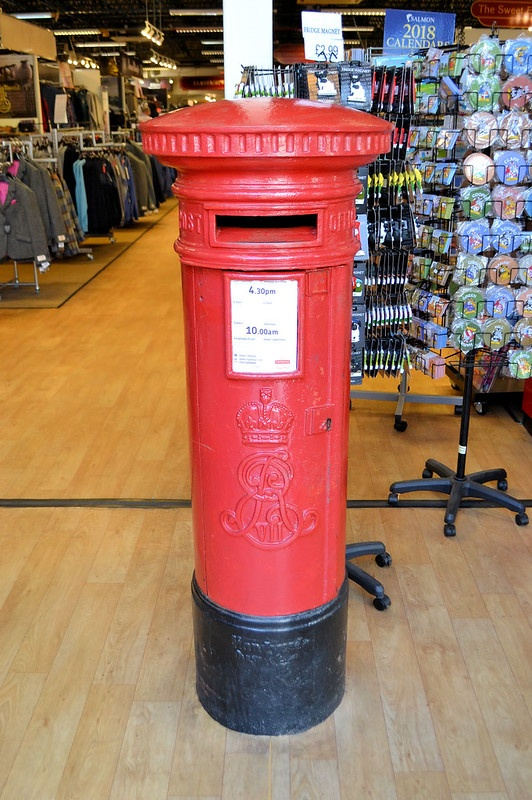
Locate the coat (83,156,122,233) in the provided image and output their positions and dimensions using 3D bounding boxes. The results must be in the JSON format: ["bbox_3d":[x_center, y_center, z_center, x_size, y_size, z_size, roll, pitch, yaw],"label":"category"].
[{"bbox_3d":[-2.575,-3.213,8.619,0.481,1.075,0.846,-3,12,-11],"label":"coat"}]

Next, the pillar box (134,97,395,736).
[{"bbox_3d":[0.002,0.125,1.094,0.435,1.350,0.508,2,11,11],"label":"pillar box"}]
